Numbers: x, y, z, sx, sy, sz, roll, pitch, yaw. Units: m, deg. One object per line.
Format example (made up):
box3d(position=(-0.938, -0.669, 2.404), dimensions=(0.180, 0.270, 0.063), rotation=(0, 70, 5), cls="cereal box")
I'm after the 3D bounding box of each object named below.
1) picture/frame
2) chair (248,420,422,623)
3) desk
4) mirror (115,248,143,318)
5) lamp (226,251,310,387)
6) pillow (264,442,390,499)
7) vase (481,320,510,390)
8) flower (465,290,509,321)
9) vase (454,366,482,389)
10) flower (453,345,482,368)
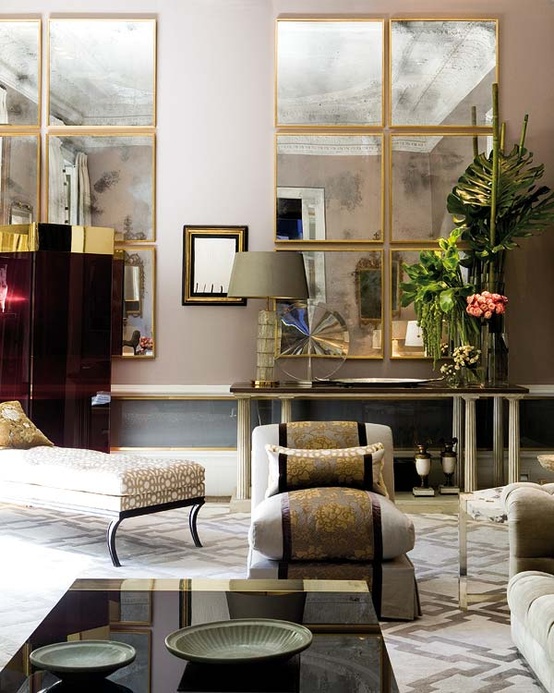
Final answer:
box3d(position=(-0.410, -0.525, 4.590), dimensions=(0.615, 0.665, 0.058), rotation=(0, -2, -2), cls="picture/frame")
box3d(position=(0.197, 0.655, 2.712), dimensions=(0.672, 0.569, 0.964), rotation=(0, 0, -1), cls="chair")
box3d(position=(0.622, 0.583, 4.333), dimensions=(1.866, 0.807, 0.590), rotation=(2, 5, -1), cls="desk")
box3d(position=(-0.975, -0.401, 4.714), dimensions=(0.245, 0.410, 0.037), rotation=(17, 24, 37), cls="mirror")
box3d(position=(-0.048, -0.162, 4.348), dimensions=(0.475, 0.814, 0.478), rotation=(0, -1, 1), cls="lamp")
box3d(position=(0.184, 0.470, 2.653), dimensions=(0.477, 0.200, 0.142), rotation=(1, -24, -2), cls="pillow")
box3d(position=(1.324, 0.074, 4.238), dimensions=(0.163, 0.308, 0.109), rotation=(-2, -4, -2), cls="vase")
box3d(position=(1.257, -0.238, 4.201), dimensions=(0.227, 0.182, 0.237), rotation=(0, 0, 12), cls="flower")
box3d(position=(1.150, 0.189, 4.190), dimensions=(0.128, 0.114, 0.125), rotation=(-2, -5, 20), cls="vase")
box3d(position=(1.132, 0.064, 4.162), dimensions=(0.145, 0.130, 0.138), rotation=(0, -5, 1), cls="flower")
